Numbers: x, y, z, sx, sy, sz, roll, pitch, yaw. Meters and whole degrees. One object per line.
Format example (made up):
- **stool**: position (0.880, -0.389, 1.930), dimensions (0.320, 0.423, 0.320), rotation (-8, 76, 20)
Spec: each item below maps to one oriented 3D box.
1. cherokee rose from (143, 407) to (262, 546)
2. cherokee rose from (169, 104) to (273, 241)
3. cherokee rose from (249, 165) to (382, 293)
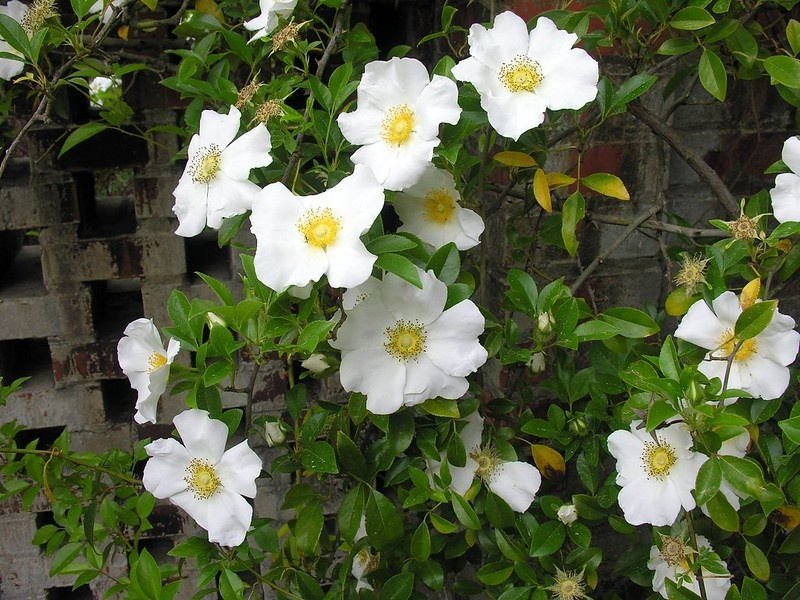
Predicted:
- **cherokee rose**: position (-0.428, 0.397, 1.560), dimensions (0.260, 0.307, 0.096), rotation (-5, 103, 2)
- **cherokee rose**: position (-0.376, -0.253, 1.522), dimensions (0.192, 0.133, 0.285), rotation (23, 85, 3)
- **cherokee rose**: position (-0.153, -0.126, 1.383), dimensions (0.259, 0.098, 0.231), rotation (-10, 85, 0)
